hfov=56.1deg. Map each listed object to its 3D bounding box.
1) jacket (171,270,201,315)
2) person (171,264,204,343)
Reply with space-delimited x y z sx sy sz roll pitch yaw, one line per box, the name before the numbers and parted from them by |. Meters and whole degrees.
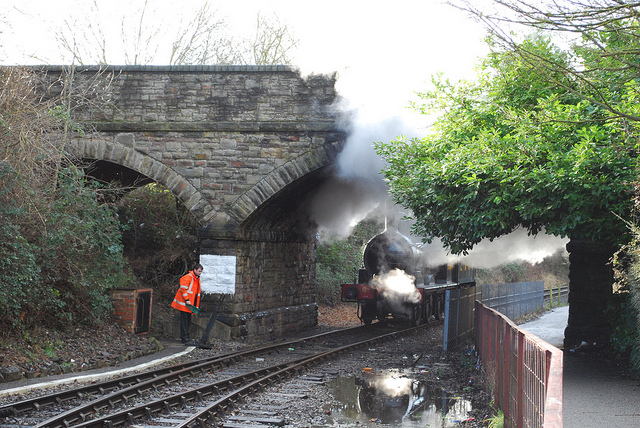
jacket | -3.744 2.169 16.661 0.752 1.141 0.480 0 -5 -17
person | -3.726 2.514 16.871 0.814 2.160 0.939 -1 -5 -5
